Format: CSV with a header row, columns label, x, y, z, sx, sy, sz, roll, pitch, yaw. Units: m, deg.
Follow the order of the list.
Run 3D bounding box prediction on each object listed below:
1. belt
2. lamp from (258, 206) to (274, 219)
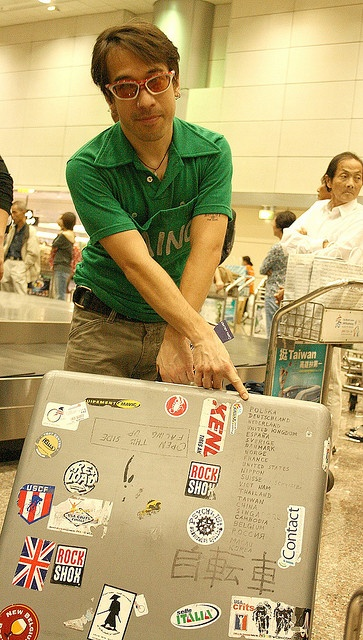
label,x,y,z,sx,sy,sz,roll,pitch,yaw
belt,-0.204,-0.050,1.124,0.120,0.039,0.114,20,-12,15
lamp,1.759,-2.244,9.223,0.241,0.275,0.182,1,9,5
